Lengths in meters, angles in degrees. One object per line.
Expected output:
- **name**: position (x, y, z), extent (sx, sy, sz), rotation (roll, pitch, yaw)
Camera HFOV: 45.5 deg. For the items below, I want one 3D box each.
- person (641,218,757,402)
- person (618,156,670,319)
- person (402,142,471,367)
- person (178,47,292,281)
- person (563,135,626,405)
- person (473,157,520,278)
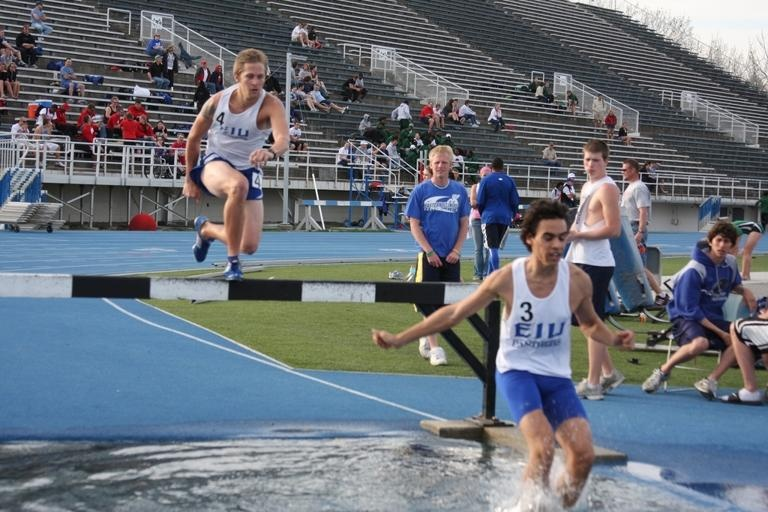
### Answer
- **person**: position (3.636, 0.551, 10.798), extent (1.000, 2.114, 1.068), rotation (3, -1, 17)
- **person**: position (3.950, -0.420, 13.875), extent (1.051, 2.615, 0.848), rotation (0, 1, -21)
- **person**: position (0.653, -0.020, 11.390), extent (0.851, 2.631, 0.781), rotation (0, 0, 6)
- **person**: position (-1.481, -1.002, 9.410), extent (0.870, 2.203, 1.196), rotation (-6, 16, -27)
- **person**: position (2.362, 0.172, 10.492), extent (0.778, 2.799, 0.776), rotation (1, 0, 35)
- **person**: position (1.786, -0.656, 15.440), extent (0.772, 2.031, 0.765), rotation (0, 2, -21)
